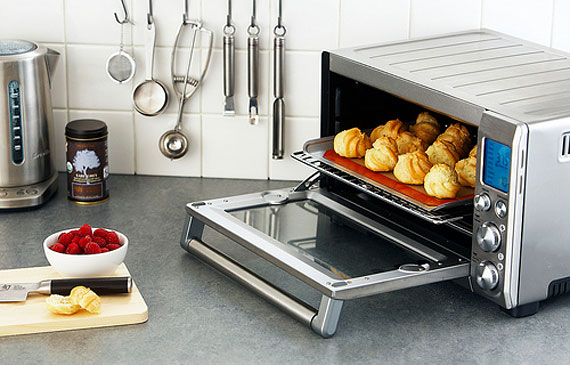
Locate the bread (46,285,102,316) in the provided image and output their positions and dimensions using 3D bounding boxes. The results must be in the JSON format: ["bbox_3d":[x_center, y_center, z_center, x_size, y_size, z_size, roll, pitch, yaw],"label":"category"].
[{"bbox_3d":[-0.381,0.215,0.834,0.073,0.018,0.052,-6,30,-18],"label":"bread"}]

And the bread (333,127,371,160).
[{"bbox_3d":[0.145,-0.084,1.014,0.073,0.029,0.067,-9,58,2],"label":"bread"}]

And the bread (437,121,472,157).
[{"bbox_3d":[0.370,-0.094,1.003,0.065,0.029,0.082,14,48,15],"label":"bread"}]

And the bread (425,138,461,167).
[{"bbox_3d":[0.322,-0.057,0.959,0.055,0.022,0.058,-39,66,6],"label":"bread"}]

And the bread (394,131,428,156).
[{"bbox_3d":[0.274,-0.083,1.010,0.055,0.021,0.052,-34,52,-29],"label":"bread"}]

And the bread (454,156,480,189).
[{"bbox_3d":[0.357,-0.020,0.914,0.018,0.054,0.054,-6,48,-27],"label":"bread"}]

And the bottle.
[{"bbox_3d":[-0.542,-0.051,1.280,0.118,0.208,0.077,-7,25,-20],"label":"bottle"}]

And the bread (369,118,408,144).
[{"bbox_3d":[0.229,-0.117,1.039,0.069,0.024,0.048,-32,25,-11],"label":"bread"}]

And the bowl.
[{"bbox_3d":[-0.399,0.146,0.916,0.115,0.047,0.110,3,20,-1],"label":"bowl"}]

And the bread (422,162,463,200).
[{"bbox_3d":[0.300,0.005,0.875,0.063,0.021,0.065,-7,61,10],"label":"bread"}]

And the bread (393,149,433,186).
[{"bbox_3d":[0.253,-0.028,0.936,0.072,0.040,0.067,-13,28,-18],"label":"bread"}]
